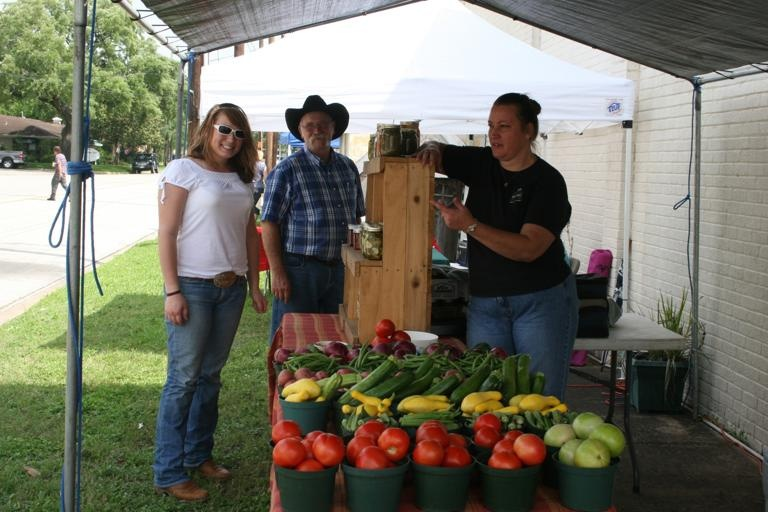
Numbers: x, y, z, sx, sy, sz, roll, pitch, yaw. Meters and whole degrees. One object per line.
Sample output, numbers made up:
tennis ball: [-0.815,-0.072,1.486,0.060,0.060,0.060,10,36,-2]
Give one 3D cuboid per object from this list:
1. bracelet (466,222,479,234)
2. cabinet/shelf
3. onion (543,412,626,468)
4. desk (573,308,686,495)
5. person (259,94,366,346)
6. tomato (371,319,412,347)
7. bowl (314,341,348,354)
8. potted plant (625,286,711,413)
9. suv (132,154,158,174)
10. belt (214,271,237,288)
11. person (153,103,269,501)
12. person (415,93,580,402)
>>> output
bracelet: [0.529,-0.164,3.445,0.050,0.058,0.028,18,-24,50]
cabinet/shelf: [0.052,-0.007,3.966,0.541,1.277,0.559,0,-2,18]
onion: [0.863,0.790,2.482,0.273,0.163,0.254,-2,8,-28]
desk: [2.106,1.005,5.299,1.490,1.121,1.398,-1,9,-1]
person: [-0.605,0.065,5.325,1.129,2.987,0.843,-9,14,-41]
tomato: [0.027,0.471,3.443,0.168,0.065,0.166,19,35,26]
bowl: [-0.306,0.540,3.352,0.152,0.079,0.081,6,-9,4]
potted plant: [3.093,1.014,6.505,0.801,1.427,0.827,-1,-9,16]
suv: [-23.655,-9.161,56.819,1.904,1.508,3.115,-1,0,-7]
belt: [-1.163,0.170,4.164,0.110,0.103,0.015,25,10,-32]
person: [-1.310,0.284,4.381,0.830,2.864,0.911,-2,-4,21]
person: [0.730,-0.057,3.901,0.908,2.196,0.859,0,2,-11]
